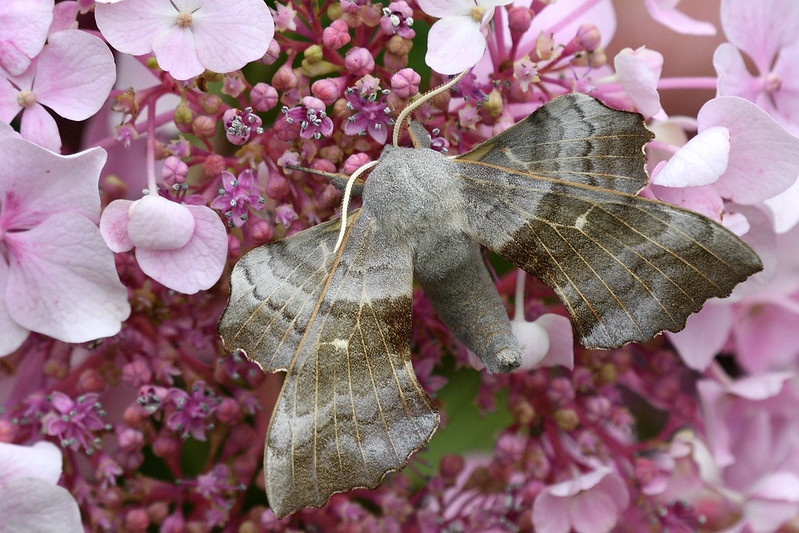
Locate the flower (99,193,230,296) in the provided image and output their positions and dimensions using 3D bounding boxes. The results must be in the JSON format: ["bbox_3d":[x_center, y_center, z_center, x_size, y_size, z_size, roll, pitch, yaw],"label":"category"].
[{"bbox_3d":[-0.626,-0.057,2.217,0.308,0.165,0.391,7,-17,26],"label":"flower"}]
